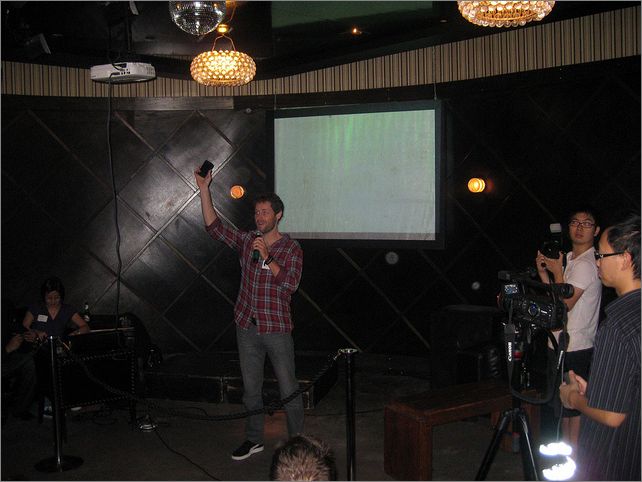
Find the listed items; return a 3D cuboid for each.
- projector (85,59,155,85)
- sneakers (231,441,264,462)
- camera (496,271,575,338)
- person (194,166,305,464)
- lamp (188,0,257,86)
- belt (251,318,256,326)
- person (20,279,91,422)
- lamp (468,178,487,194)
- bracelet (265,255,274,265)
[{"bbox_3d":[-1.718,-1.475,4.560,0.517,0.178,0.215,1,6,10],"label":"projector"},{"bbox_3d":[-0.548,1.574,3.928,0.242,0.106,0.096,8,-10,-42],"label":"sneakers"},{"bbox_3d":[1.131,0.310,2.743,0.205,0.227,0.397,-9,12,-28],"label":"camera"},{"bbox_3d":[-0.476,0.646,3.956,0.908,1.999,0.502,4,7,39],"label":"person"},{"bbox_3d":[-0.947,-1.806,5.080,0.612,0.638,0.642,-3,1,21],"label":"lamp"},{"bbox_3d":[-0.488,0.593,3.816,0.041,0.081,0.042,-1,-5,-1],"label":"belt"},{"bbox_3d":[-2.507,0.984,4.968,0.550,1.269,0.876,-4,7,-31],"label":"person"},{"bbox_3d":[1.724,-0.617,5.760,0.154,0.165,0.061,9,3,33],"label":"lamp"},{"bbox_3d":[-0.371,0.138,3.764,0.060,0.074,0.086,-1,6,-7],"label":"bracelet"}]
